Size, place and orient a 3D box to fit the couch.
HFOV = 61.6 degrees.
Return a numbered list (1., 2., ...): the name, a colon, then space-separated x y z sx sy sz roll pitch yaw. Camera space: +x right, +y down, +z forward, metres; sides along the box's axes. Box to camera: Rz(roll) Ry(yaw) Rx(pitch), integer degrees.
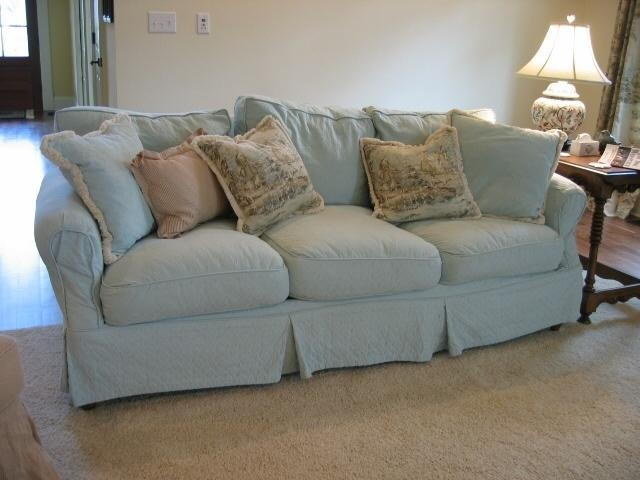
1. couch: 0.073 -0.054 2.846 2.567 1.288 1.132 -5 12 -13
